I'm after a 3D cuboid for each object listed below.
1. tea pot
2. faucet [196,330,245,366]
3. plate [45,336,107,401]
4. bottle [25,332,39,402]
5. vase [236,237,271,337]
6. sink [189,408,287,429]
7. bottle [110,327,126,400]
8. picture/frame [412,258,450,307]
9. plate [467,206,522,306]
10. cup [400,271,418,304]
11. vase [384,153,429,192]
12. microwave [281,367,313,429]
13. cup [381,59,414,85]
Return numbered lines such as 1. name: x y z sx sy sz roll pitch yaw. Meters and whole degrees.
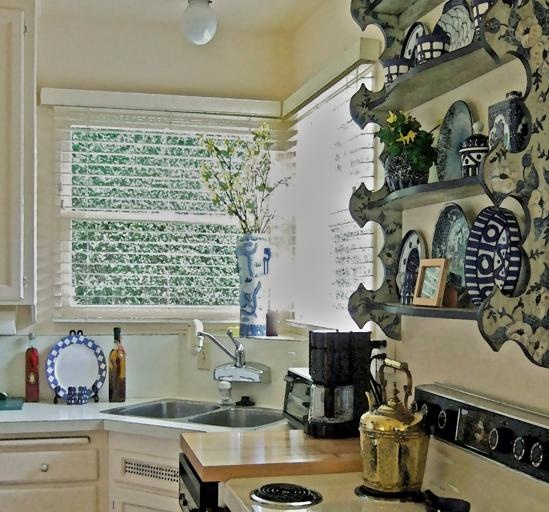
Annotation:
1. tea pot: 0.311 0.439 1.528 0.182 0.334 0.183 2 -5 0
2. faucet: -0.258 0.438 2.855 0.206 0.173 0.264 0 -2 -35
3. plate: -1.025 0.562 2.999 0.305 0.346 0.183 0 -1 -23
4. bottle: -1.238 0.563 2.962 0.069 0.333 0.127 0 -1 -23
5. vase: -0.099 0.148 2.980 0.190 0.512 0.136 0 -1 -27
6. sink: -0.185 0.752 2.668 0.427 0.086 0.196 0 -1 -12
7. bottle: -0.804 0.549 2.959 0.075 0.375 0.044 0 -1 -23
8. picture/frame: 0.456 0.082 1.681 0.020 0.165 0.111 19 -13 -20
9. plate: 0.538 0.001 1.408 0.040 0.288 0.228 1 -2 -14
10. cup: 0.406 0.097 1.743 0.060 0.117 0.065 9 -13 2
11. vase: 0.391 -0.222 1.753 0.119 0.154 0.139 -1 -10 6
12. microwave: 0.090 0.536 2.245 0.155 0.220 0.206 3 -5 -9
13. cup: 0.374 -0.571 1.783 0.084 0.081 0.097 -3 1 -44
